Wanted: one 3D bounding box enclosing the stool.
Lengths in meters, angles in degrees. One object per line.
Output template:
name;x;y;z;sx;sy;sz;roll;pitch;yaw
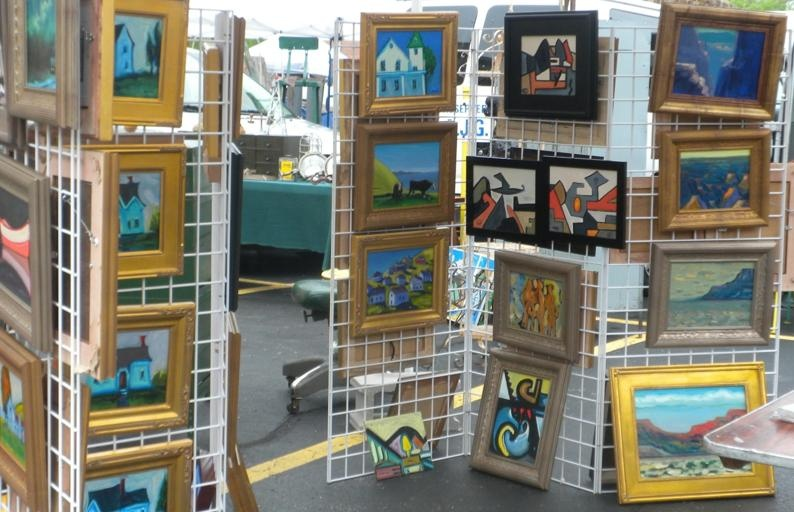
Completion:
stool;-0.602;0.566;7.421;0.365;0.844;0.801;-4;13;-6
